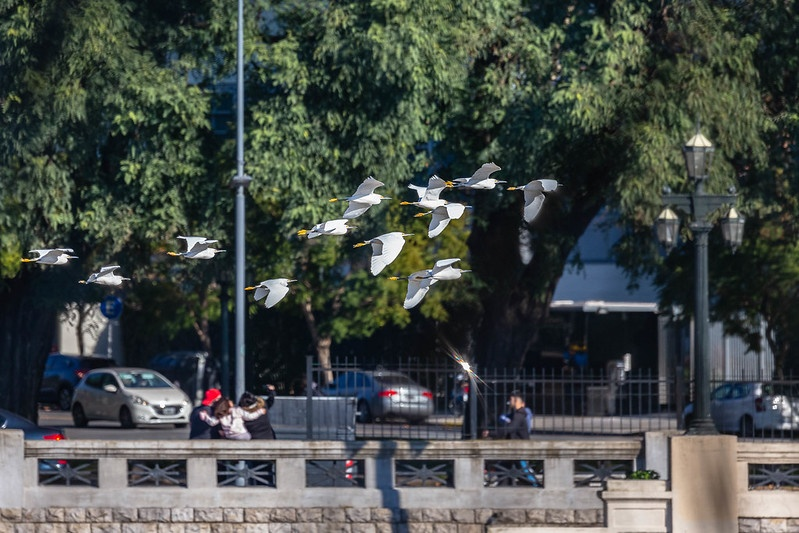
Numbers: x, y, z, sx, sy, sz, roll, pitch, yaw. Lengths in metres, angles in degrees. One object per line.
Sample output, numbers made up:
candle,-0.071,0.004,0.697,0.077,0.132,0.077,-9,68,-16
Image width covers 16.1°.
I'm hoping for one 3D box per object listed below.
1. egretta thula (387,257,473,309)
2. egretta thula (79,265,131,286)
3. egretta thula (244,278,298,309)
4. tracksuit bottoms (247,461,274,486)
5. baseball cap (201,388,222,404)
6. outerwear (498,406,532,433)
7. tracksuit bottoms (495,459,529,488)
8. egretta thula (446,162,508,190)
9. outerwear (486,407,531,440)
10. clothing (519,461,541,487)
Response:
egretta thula,0.760,0.224,67.601,1.366,1.157,0.781,-2,-5,29
egretta thula,-7.038,0.092,68.260,0.794,0.315,0.797,7,-4,-12
egretta thula,-2.984,0.411,67.786,0.838,0.363,0.981,-8,5,-11
tracksuit bottoms,-3.316,4.772,67.339,0.673,0.608,0.765,0,-4,-3
baseball cap,-4.524,3.031,68.376,0.434,0.185,0.362,-29,9,-15
outerwear,2.859,3.519,69.003,0.555,0.787,0.723,8,-2,3
tracksuit bottoms,2.685,4.775,67.319,0.643,0.538,0.061,-2,13,-11
egretta thula,1.884,-2.283,67.931,0.820,0.341,0.927,9,-5,4
outerwear,2.676,3.674,68.302,0.883,0.895,0.701,6,-9,-1
clothing,3.063,4.785,67.443,0.445,0.643,0.209,-15,-7,-22
